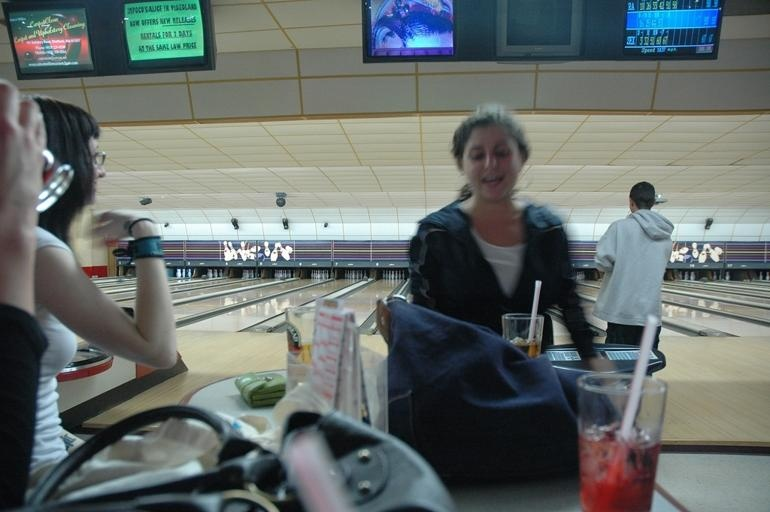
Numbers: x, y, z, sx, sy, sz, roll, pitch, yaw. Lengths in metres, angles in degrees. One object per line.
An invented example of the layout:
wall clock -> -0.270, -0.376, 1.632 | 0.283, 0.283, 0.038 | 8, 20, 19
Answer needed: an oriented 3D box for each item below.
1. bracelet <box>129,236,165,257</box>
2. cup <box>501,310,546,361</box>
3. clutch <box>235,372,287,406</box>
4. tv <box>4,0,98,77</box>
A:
bracelet -> -0.786, -0.029, 1.595 | 0.100, 0.055, 0.071 | -3, -7, -3
cup -> 0.451, 0.270, 1.606 | 0.168, 0.157, 0.163 | -1, -4, 0
clutch -> -0.387, 0.418, 1.550 | 0.164, 0.052, 0.176 | -7, 7, -31
tv -> -2.124, -1.410, 3.060 | 0.578, 0.473, 0.070 | -1, 12, -5
